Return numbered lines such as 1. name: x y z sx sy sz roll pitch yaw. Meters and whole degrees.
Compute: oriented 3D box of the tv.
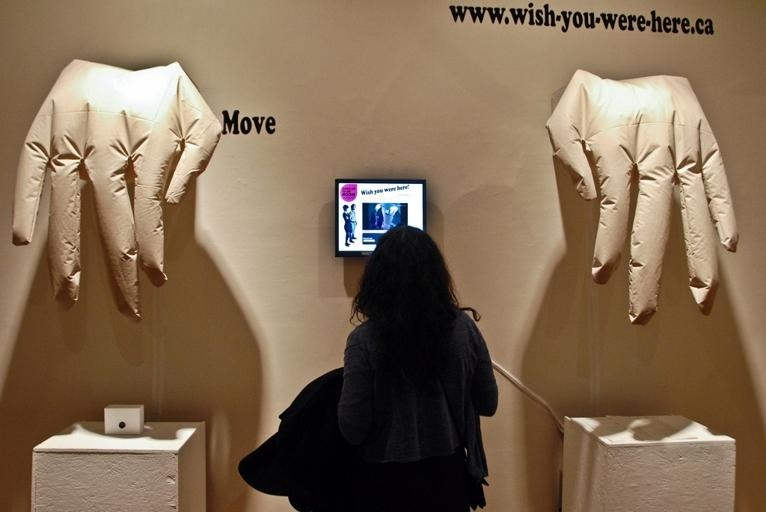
1. tv: -0.012 -0.205 4.254 0.406 0.352 0.044 0 -3 1
